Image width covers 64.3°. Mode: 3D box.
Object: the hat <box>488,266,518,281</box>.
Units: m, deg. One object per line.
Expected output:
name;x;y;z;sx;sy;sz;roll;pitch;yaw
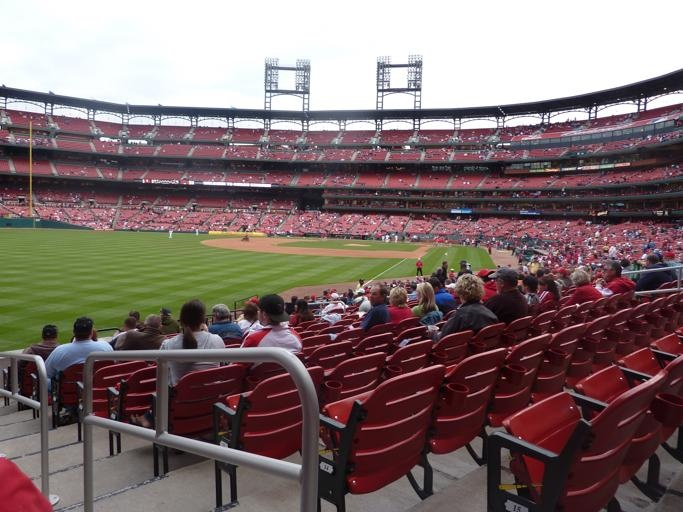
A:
hat;2.389;0.257;7.913;0.436;0.131;0.311;2;3;39

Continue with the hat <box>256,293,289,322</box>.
hat;-0.757;0.592;6.257;0.322;0.310;0.277;-1;5;-6
